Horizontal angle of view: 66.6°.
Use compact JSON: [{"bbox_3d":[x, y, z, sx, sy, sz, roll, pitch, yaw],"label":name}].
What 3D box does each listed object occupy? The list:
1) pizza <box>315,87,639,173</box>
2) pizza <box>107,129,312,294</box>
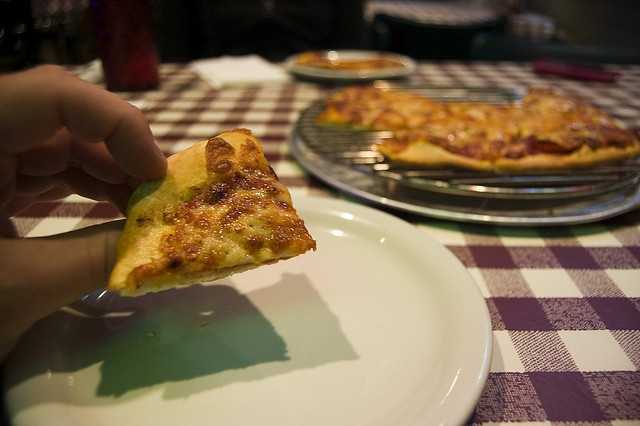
[{"bbox_3d":[0.562,-0.282,1.660,0.733,0.074,0.468,4,23,5],"label":"pizza"},{"bbox_3d":[-0.243,0.014,1.086,0.414,0.111,0.363,-14,62,-12],"label":"pizza"}]
